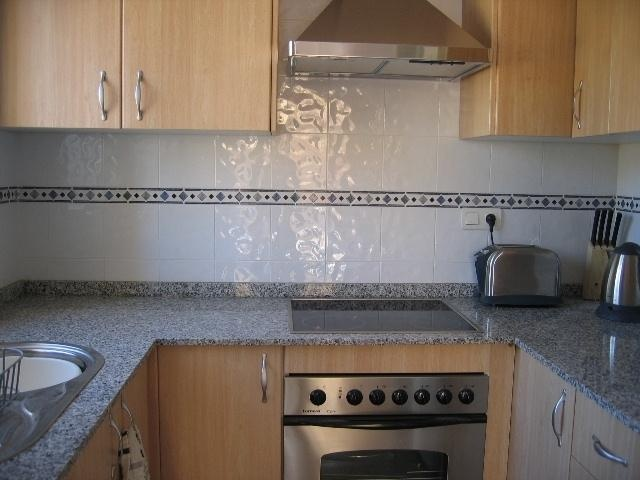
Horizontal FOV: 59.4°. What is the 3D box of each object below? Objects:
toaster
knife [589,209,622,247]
[{"bbox_3d":[0.936,0.166,2.646,0.401,0.254,0.341,1,-80,5],"label":"toaster"},{"bbox_3d":[1.415,-0.056,2.774,0.124,0.197,0.050,-3,-4,23],"label":"knife"}]
